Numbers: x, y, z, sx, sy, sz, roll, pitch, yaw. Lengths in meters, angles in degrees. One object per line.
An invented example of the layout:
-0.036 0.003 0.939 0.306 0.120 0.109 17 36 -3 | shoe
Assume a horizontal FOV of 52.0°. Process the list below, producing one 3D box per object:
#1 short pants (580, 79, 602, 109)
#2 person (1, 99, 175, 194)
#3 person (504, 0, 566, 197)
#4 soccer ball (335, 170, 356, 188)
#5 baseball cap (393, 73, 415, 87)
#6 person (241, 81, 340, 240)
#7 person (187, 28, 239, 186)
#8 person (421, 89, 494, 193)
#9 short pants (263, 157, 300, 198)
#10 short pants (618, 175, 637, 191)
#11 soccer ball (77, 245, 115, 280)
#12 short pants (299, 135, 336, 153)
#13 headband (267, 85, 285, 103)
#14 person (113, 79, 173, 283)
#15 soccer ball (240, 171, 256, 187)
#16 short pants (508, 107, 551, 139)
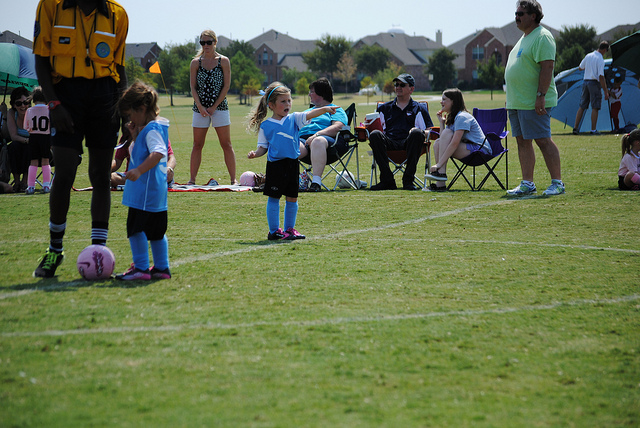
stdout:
6.587 -2.884 15.880 0.388 0.702 0.569 3 12 18 | short pants
-2.497 -0.684 6.752 1.305 0.907 0.758 1 8 1 | person
2.762 -1.463 8.419 0.824 2.481 0.582 5 12 28 | person
0.381 -0.587 9.979 0.356 0.369 0.206 1 9 8 | soccer ball
1.272 -2.027 9.844 0.241 0.128 0.168 15 -6 -36 | baseball cap
-0.388 -0.618 6.987 0.767 1.521 1.316 -2 11 -6 | person
-1.663 -1.589 9.982 0.763 2.289 0.649 0 11 2 | person
1.958 -1.049 9.455 0.900 1.444 1.249 3 12 20 | person
-0.376 -0.360 6.506 0.331 0.434 0.237 8 -13 -44 | short pants
4.031 -0.398 8.578 0.221 0.183 0.158 5 13 27 | short pants
-1.822 0.391 5.394 0.266 0.327 0.271 0 -3 0 | soccer ball
-0.067 -1.020 9.588 0.574 0.258 0.309 7 14 34 | short pants
-0.448 -1.216 6.697 0.036 0.157 0.160 10 9 28 | headband
-1.481 -0.292 5.442 0.467 1.593 0.695 -3 11 -13 | person
-1.105 -0.545 10.073 0.205 0.214 0.178 6 19 -28 | soccer ball
2.673 -1.203 8.553 0.320 0.421 0.525 -2 11 -36 | short pants
